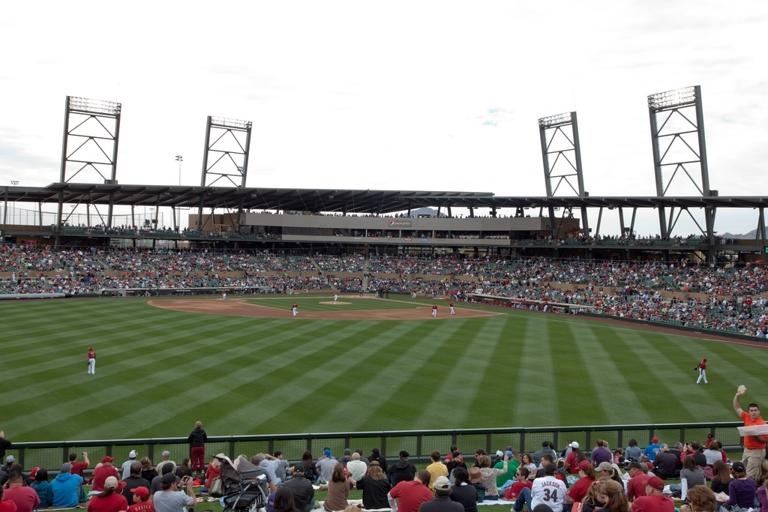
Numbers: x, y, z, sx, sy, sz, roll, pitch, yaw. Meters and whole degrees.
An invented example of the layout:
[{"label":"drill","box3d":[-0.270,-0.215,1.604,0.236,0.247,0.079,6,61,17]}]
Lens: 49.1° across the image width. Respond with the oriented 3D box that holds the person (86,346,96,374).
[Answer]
[{"label":"person","box3d":[-17.099,6.203,49.360,0.464,1.366,0.989,0,0,-21]}]
